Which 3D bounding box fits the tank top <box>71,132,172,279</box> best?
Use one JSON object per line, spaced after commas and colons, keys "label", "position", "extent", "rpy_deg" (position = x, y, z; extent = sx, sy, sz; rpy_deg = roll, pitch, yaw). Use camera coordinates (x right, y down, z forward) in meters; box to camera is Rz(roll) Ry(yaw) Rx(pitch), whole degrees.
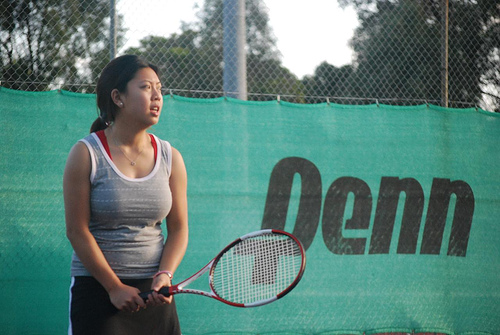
{"label": "tank top", "position": [-1.250, 0.399, 6.973], "extent": [1.093, 1.782, 0.820], "rpy_deg": [5, -8, -33]}

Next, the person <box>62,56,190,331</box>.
{"label": "person", "position": [-1.183, 0.244, 7.052], "extent": [1.132, 2.665, 0.486], "rpy_deg": [4, 2, 7]}

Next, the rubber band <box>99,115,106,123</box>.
{"label": "rubber band", "position": [-1.442, -0.485, 7.189], "extent": [0.083, 0.019, 0.081], "rpy_deg": [52, -7, -6]}
